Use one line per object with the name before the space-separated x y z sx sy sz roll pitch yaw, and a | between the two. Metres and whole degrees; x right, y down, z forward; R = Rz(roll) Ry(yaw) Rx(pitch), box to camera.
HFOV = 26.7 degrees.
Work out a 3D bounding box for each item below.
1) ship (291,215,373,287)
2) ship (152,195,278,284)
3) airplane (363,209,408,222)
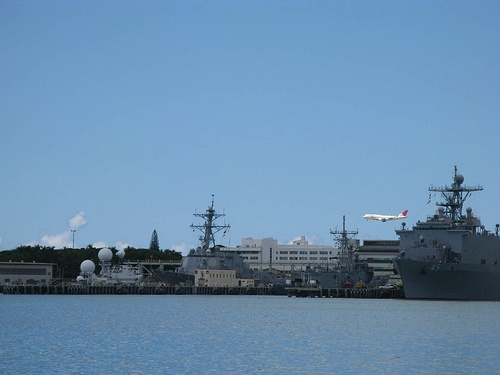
ship | 11.478 11.147 162.202 14.658 10.385 19.546 -5 -13 24
ship | -4.247 11.178 176.981 9.296 13.002 24.266 -10 -16 43
airplane | 16.541 3.719 128.724 4.503 1.724 4.632 6 0 5
